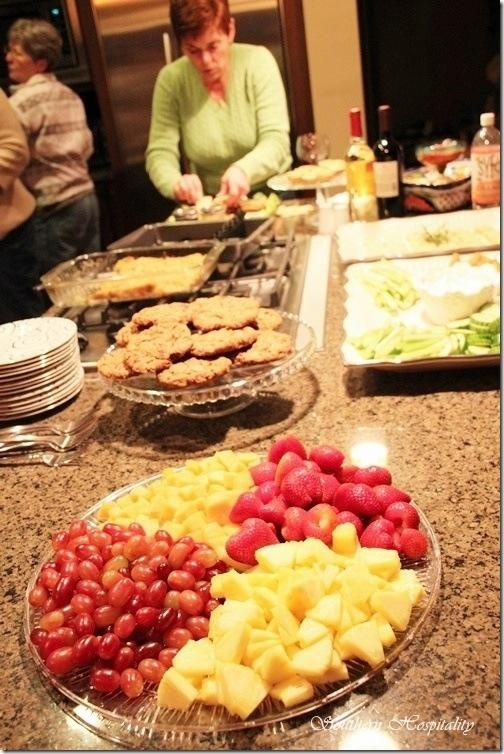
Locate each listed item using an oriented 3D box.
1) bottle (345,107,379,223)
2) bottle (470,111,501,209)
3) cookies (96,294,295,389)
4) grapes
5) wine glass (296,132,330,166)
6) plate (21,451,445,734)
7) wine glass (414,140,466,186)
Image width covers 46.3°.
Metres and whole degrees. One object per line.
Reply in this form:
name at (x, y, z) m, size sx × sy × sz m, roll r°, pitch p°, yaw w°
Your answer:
bottle at (0.369, -0.710, 2.029) m, size 0.084 × 0.389 × 0.132 m, roll 0°, pitch 19°, yaw 4°
bottle at (0.746, -0.679, 1.891) m, size 0.104 × 0.304 × 0.136 m, roll 1°, pitch 23°, yaw 23°
cookies at (-0.128, -0.077, 1.168) m, size 0.365 × 0.084 × 0.360 m, roll -16°, pitch 23°, yaw -13°
grapes at (-0.145, 0.214, 0.619) m, size 0.140 × 0.061 × 0.155 m, roll 6°, pitch 24°, yaw 5°
wine glass at (0.270, -0.988, 2.541) m, size 0.130 × 0.116 × 0.248 m, roll -14°, pitch 22°, yaw -9°
plate at (-0.043, 0.202, 0.665) m, size 0.469 × 0.104 × 0.395 m, roll 5°, pitch 27°, yaw 33°
wine glass at (0.679, -0.810, 2.132) m, size 0.195 × 0.101 × 0.208 m, roll -15°, pitch 24°, yaw 12°
